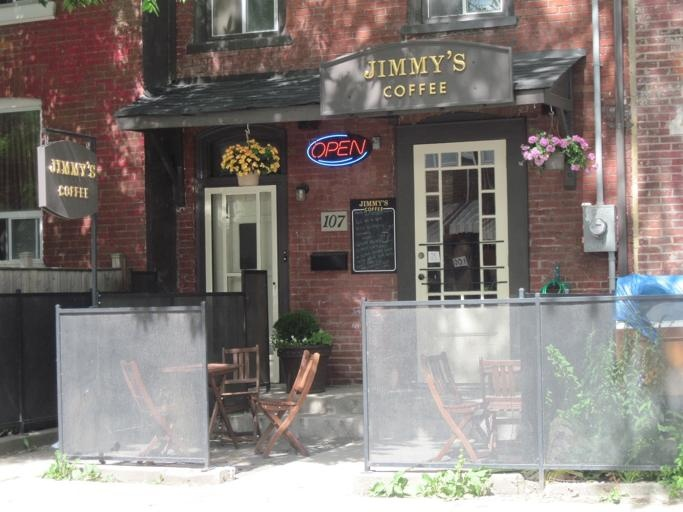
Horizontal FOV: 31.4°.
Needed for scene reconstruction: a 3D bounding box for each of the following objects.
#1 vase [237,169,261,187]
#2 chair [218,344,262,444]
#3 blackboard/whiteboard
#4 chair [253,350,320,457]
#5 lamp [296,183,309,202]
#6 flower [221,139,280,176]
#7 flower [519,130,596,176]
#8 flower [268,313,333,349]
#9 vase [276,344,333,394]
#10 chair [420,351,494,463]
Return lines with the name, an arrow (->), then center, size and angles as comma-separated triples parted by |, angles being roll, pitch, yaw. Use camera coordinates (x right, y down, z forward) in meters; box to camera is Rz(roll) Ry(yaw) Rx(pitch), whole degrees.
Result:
vase -> -1.348, -1.139, 17.926 | 0.233, 0.195, 0.225 | 0, 1, 1
chair -> -1.272, 1.812, 16.110 | 0.556, 1.168, 0.547 | 3, 3, 16
blackboard/whiteboard -> 0.487, -0.277, 17.637 | 0.567, 1.133, 0.288 | 0, 1, 35
chair -> -0.684, 1.847, 15.425 | 0.877, 1.262, 0.816 | 0, -3, -10
lamp -> -0.551, -0.930, 17.870 | 0.190, 0.268, 0.062 | 0, 3, 3
flower -> -1.275, -1.405, 17.929 | 0.696, 0.611, 0.621 | 3, 2, 38
flower -> 2.981, -1.427, 16.628 | 0.974, 0.410, 0.517 | -4, -2, 13
flower -> -0.546, 1.027, 17.086 | 0.830, 0.517, 0.337 | -3, -2, -4
vase -> -0.506, 1.590, 17.242 | 0.808, 0.700, 0.871 | -2, -2, -13
chair -> 1.287, 1.678, 13.603 | 1.016, 1.576, 0.902 | -1, -1, 22
